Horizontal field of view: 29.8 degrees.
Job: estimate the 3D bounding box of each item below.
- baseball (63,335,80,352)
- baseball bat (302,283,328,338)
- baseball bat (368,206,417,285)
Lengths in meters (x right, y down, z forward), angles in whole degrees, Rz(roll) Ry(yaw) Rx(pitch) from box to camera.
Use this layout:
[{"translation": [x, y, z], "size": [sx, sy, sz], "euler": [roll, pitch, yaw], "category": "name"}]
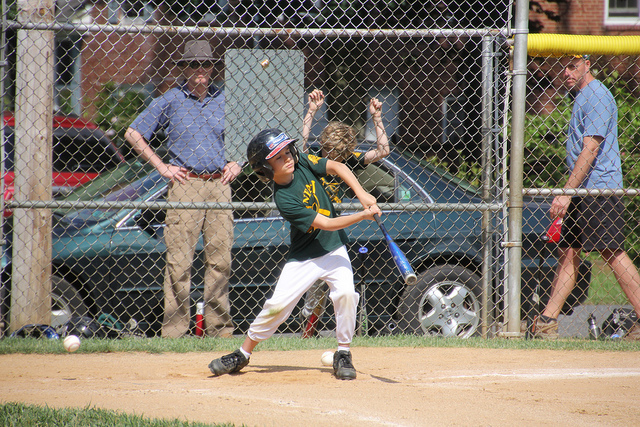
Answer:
[{"translation": [-2.689, 1.404, 12.933], "size": [0.140, 0.164, 0.155], "euler": [-18, -28, 8], "category": "baseball"}, {"translation": [-0.077, 1.059, 13.397], "size": [0.090, 0.661, 0.171], "euler": [20, 16, -4], "category": "baseball bat"}, {"translation": [0.778, 0.330, 13.197], "size": [0.127, 0.937, 0.131], "euler": [-28, -20, -6], "category": "baseball bat"}]
